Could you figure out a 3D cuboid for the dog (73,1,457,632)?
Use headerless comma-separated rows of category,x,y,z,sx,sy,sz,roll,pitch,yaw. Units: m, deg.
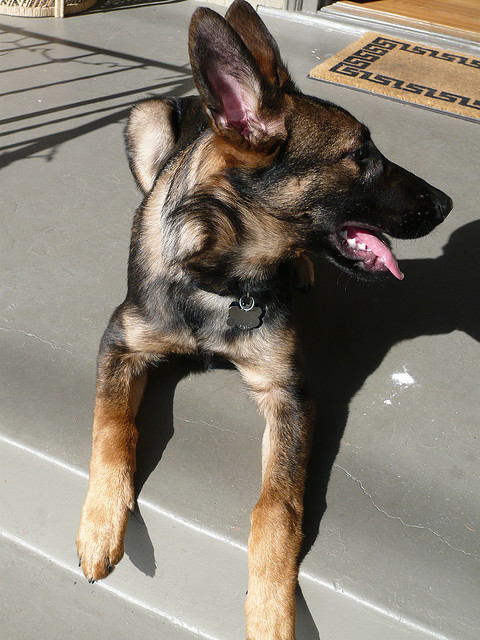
dog,-0.069,-0.126,2.079,1.155,1.796,1.240,15,24,18
